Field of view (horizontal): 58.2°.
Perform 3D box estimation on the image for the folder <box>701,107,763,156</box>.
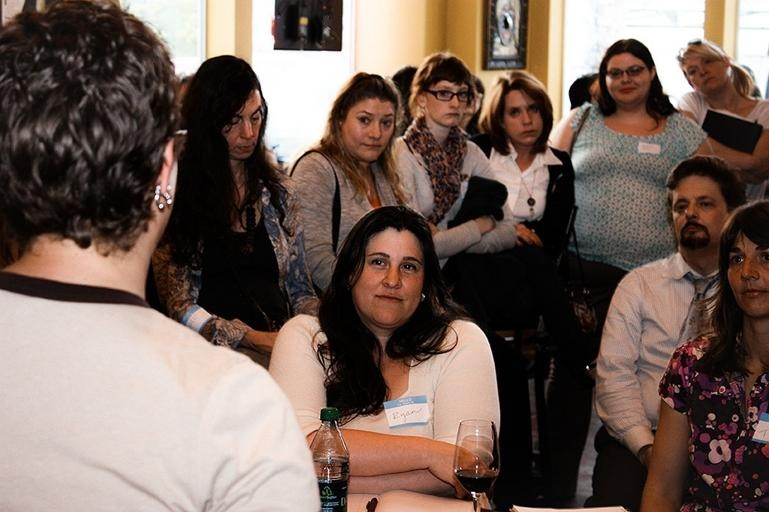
[{"bbox_3d":[2.349,-0.801,4.651,0.390,0.322,0.301,5,22,19],"label":"folder"}]
